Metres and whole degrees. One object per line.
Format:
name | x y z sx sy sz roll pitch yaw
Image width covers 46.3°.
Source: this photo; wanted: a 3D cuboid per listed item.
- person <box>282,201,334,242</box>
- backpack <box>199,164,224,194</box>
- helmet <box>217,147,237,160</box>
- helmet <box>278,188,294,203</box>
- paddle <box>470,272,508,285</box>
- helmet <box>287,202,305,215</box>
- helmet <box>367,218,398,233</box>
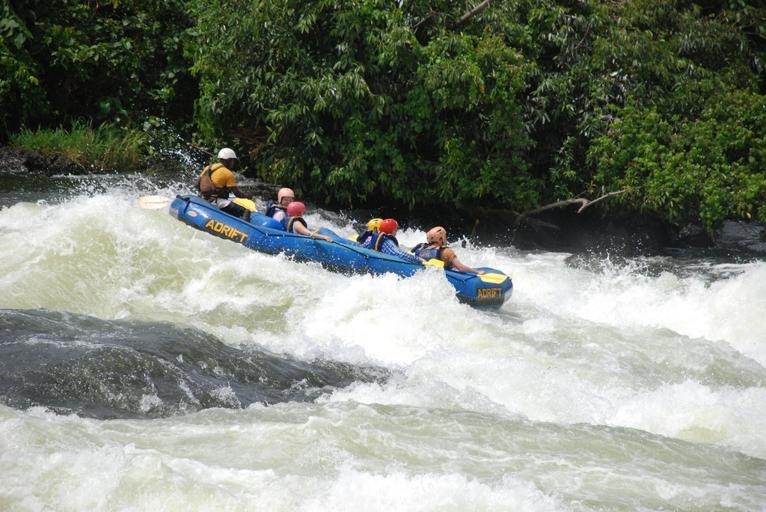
person | -1.563 -0.720 18.901 0.941 0.609 0.731 16 3 -16
backpack | -3.804 -1.682 19.462 0.416 0.589 0.413 -2 26 -14
helmet | -3.391 -2.257 19.754 0.348 0.277 0.490 16 22 40
helmet | -2.143 -1.397 19.547 0.358 0.311 0.310 -12 12 -8
paddle | 2.170 0.436 18.129 0.638 0.101 0.256 2 51 0
helmet | -1.876 -1.051 19.126 0.314 0.317 0.254 -18 40 -19
helmet | -0.029 -0.666 18.777 0.421 0.251 0.338 -2 6 0
